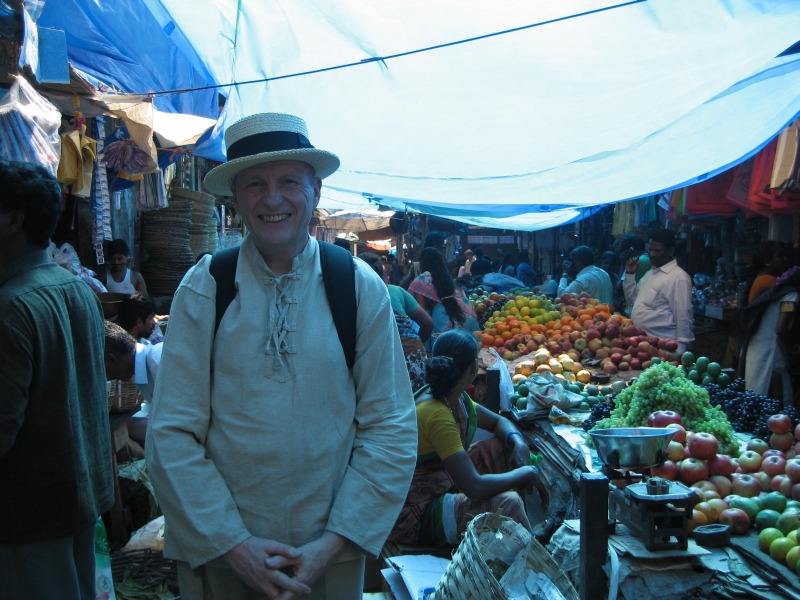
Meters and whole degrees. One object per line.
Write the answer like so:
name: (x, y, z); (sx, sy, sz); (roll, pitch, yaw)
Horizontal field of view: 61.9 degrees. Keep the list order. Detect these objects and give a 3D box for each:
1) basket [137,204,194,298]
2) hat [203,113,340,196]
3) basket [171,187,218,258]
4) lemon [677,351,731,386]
basket: (-3.174, -0.718, 9.467); (0.806, 1.413, 0.900); (-1, 4, 3)
hat: (-0.486, -0.592, 2.533); (0.384, 0.139, 0.335); (-8, -9, -39)
basket: (-2.981, -1.151, 9.818); (0.605, 1.235, 0.676); (2, 11, -8)
lemon: (2.294, 0.527, 5.053); (0.358, 0.112, 0.222); (28, -31, 20)
